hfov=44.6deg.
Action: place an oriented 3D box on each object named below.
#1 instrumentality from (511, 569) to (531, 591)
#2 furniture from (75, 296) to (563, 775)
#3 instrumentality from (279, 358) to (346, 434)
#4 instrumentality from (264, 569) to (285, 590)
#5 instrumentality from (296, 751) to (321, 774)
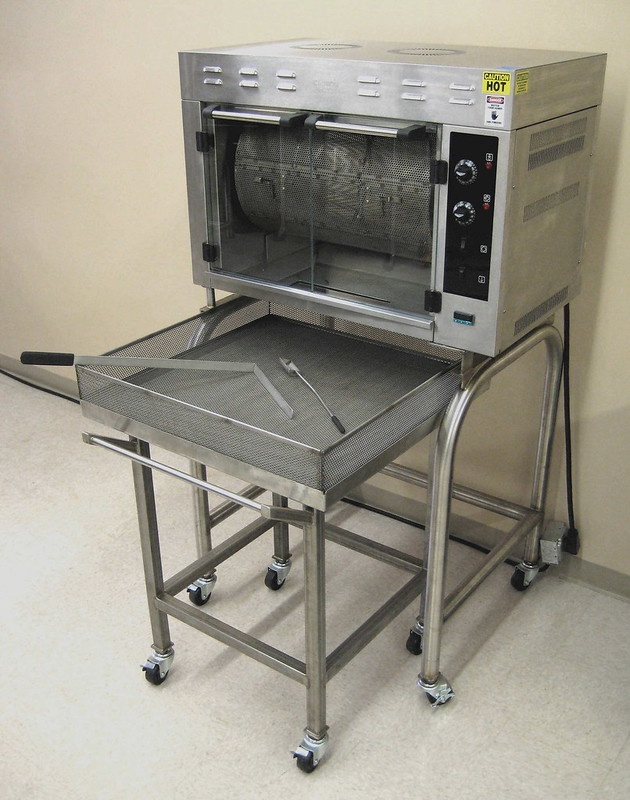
[{"bbox_3d":[0.486,0.427,1.805,0.033,0.053,0.040,-25,31,-38],"label":"instrumentality"},{"bbox_3d":[0.022,0.071,1.675,0.863,0.720,0.975,18,33,32],"label":"furniture"},{"bbox_3d":[-0.005,-0.002,1.234,0.020,0.022,0.221,35,8,-36],"label":"instrumentality"},{"bbox_3d":[-0.096,0.434,1.843,0.033,0.050,0.042,9,20,33],"label":"instrumentality"},{"bbox_3d":[-0.013,0.643,1.357,0.027,0.036,0.035,25,41,34],"label":"instrumentality"}]
